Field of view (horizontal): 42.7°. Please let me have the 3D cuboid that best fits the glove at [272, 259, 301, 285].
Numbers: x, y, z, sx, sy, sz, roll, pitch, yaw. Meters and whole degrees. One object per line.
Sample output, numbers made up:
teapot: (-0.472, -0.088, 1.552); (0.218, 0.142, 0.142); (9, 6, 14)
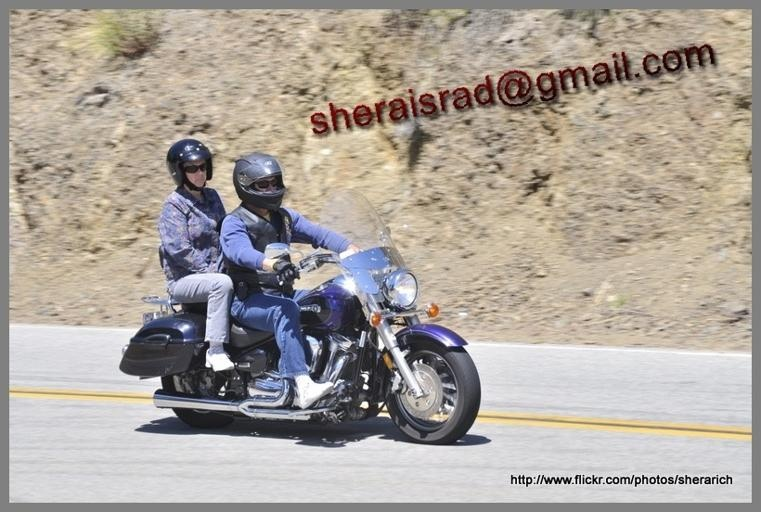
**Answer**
glove: (-1.008, 0.150, 10.104); (0.308, 0.132, 0.286); (5, 33, -30)
